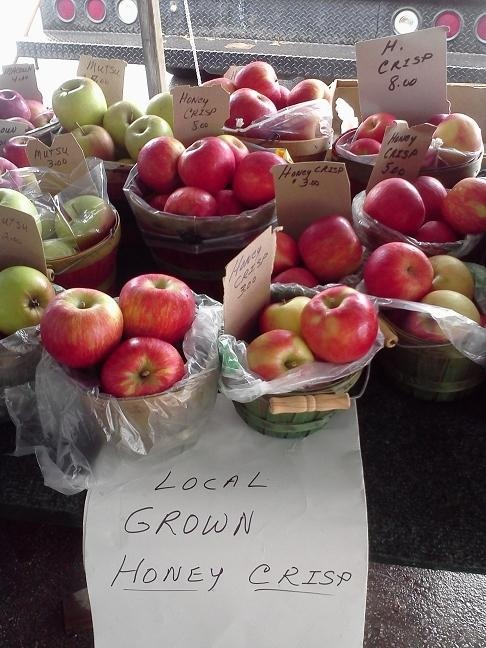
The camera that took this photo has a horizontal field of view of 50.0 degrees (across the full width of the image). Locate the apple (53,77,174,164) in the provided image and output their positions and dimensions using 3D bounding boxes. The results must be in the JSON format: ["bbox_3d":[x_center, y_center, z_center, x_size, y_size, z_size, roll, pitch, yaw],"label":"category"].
[{"bbox_3d":[-0.312,-0.486,1.296,0.278,0.110,0.242,-1,79,-2],"label":"apple"}]

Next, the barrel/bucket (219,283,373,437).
[{"bbox_3d":[0.058,0.061,0.682,0.173,0.123,0.165,-2,42,2],"label":"barrel/bucket"}]

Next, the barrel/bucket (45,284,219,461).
[{"bbox_3d":[-0.156,0.055,0.735,0.187,0.127,0.192,-1,25,1],"label":"barrel/bucket"}]

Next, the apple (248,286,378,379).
[{"bbox_3d":[0.094,0.040,0.751,0.187,0.085,0.103,-28,38,15],"label":"apple"}]

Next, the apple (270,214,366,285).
[{"bbox_3d":[0.117,-0.123,0.904,0.166,0.107,0.107,-17,37,-18],"label":"apple"}]

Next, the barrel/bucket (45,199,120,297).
[{"bbox_3d":[-0.301,-0.108,0.978,0.131,0.130,0.120,-5,40,4],"label":"barrel/bucket"}]

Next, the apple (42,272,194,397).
[{"bbox_3d":[-0.134,0.008,0.678,0.191,0.087,0.135,2,61,4],"label":"apple"}]

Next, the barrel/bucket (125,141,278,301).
[{"bbox_3d":[-0.074,-0.222,1.062,0.309,0.277,0.240,-6,-1,1],"label":"barrel/bucket"}]
